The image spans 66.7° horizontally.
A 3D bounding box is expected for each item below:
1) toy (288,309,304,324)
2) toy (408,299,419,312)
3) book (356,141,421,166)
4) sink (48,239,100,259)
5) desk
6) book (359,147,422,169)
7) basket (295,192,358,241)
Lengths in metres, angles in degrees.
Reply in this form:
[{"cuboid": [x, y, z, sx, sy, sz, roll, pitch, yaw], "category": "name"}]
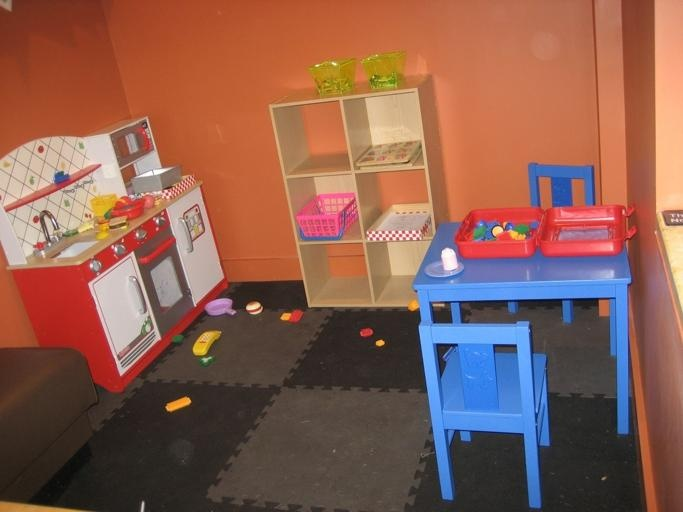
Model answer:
[{"cuboid": [-0.378, 0.498, 4.303, 0.114, 0.044, 0.159, -3, 22, 9], "category": "toy"}, {"cuboid": [0.588, 0.412, 4.187, 0.101, 0.041, 0.067, -38, 56, -11], "category": "toy"}, {"cuboid": [0.383, -0.798, 4.040, 0.314, 0.069, 0.337, -6, 28, 23], "category": "book"}, {"cuboid": [-1.903, -0.053, 3.788, 0.324, 0.124, 0.190, -6, 21, 0], "category": "sink"}, {"cuboid": [1.070, 0.165, 3.048, 1.180, 0.917, 1.090, 1, 23, 17], "category": "desk"}, {"cuboid": [0.385, -0.789, 4.061, 0.459, 0.101, 0.449, 3, 23, 21], "category": "book"}, {"cuboid": [-0.110, -0.336, 4.357, 0.344, 0.224, 0.523, 0, 23, 15], "category": "basket"}]
